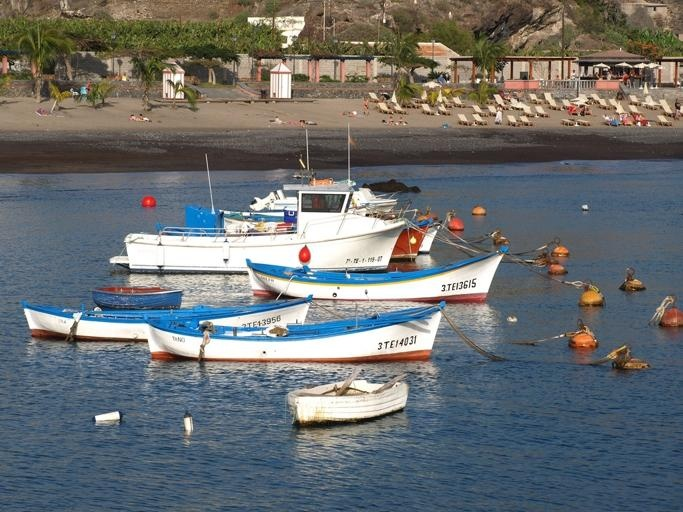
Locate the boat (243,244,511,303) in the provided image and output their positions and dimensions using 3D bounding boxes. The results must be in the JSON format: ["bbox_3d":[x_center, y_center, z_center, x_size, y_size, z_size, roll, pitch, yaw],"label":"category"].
[{"bbox_3d":[1.732,0.915,71.206,11.006,2.875,0.930,3,26,3],"label":"boat"}]

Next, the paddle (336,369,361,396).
[{"bbox_3d":[0.205,5.121,61.897,0.450,1.595,0.175,36,21,-10],"label":"paddle"}]

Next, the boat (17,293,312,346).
[{"bbox_3d":[-7.381,2.801,69.345,14.181,1.719,3.416,0,2,-29],"label":"boat"}]

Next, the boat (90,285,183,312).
[{"bbox_3d":[-9.328,2.028,69.895,3.572,0.955,3.403,-12,15,-39],"label":"boat"}]

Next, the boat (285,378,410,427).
[{"bbox_3d":[0.189,5.784,62.665,5.122,1.353,2.955,-8,10,-40],"label":"boat"}]

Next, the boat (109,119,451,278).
[{"bbox_3d":[-3.994,-1.627,76.017,14.763,4.757,4.785,3,24,5],"label":"boat"}]
